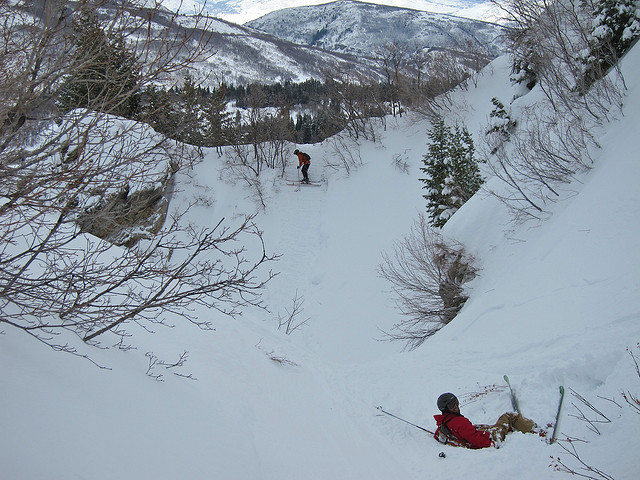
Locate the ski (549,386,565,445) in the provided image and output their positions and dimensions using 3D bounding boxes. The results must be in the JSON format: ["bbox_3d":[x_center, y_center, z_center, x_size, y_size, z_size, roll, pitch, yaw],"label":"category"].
[{"bbox_3d":[5.197,3.861,13.060,0.114,1.106,0.097,40,-35,-25],"label":"ski"}]

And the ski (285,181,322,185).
[{"bbox_3d":[-1.077,-3.266,34.698,1.704,0.158,0.246,-6,16,-16],"label":"ski"}]

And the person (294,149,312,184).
[{"bbox_3d":[-1.066,-4.147,34.312,0.834,0.742,1.823,7,-25,9],"label":"person"}]

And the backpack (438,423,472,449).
[{"bbox_3d":[3.039,4.500,13.632,0.578,0.290,0.495,22,-17,25],"label":"backpack"}]

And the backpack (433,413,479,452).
[{"bbox_3d":[3.073,4.596,13.633,0.768,0.362,0.652,22,44,10],"label":"backpack"}]
